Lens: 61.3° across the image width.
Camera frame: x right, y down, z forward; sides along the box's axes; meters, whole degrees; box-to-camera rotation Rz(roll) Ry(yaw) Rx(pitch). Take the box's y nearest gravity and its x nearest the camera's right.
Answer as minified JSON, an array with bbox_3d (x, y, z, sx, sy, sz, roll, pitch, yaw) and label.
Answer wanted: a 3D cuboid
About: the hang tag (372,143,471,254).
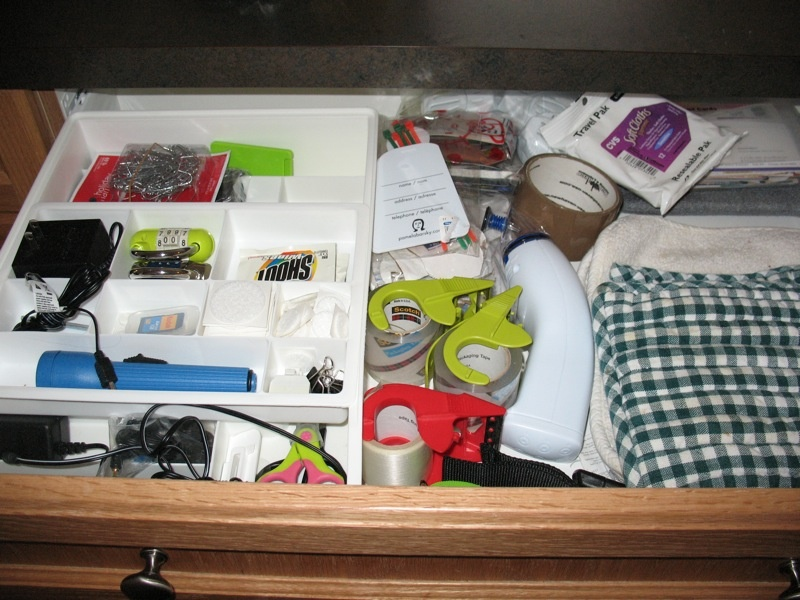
[{"bbox_3d":[0.035,-0.201,1.301,0.163,0.014,0.213,-10,67,7],"label":"hang tag"}]
